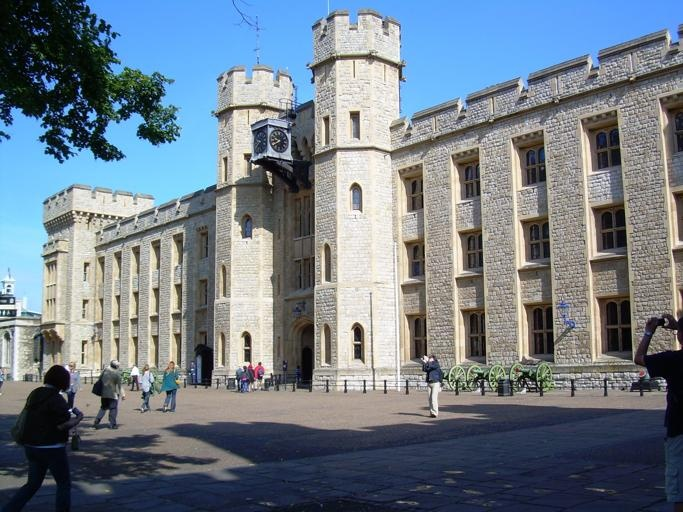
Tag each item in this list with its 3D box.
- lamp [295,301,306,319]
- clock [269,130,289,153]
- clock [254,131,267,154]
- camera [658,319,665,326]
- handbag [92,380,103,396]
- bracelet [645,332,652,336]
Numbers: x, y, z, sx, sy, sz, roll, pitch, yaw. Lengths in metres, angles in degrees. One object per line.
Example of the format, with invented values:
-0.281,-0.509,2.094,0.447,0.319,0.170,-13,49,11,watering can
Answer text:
-2.254,2.899,41.257,0.388,0.905,0.644,2,-6,-40,lamp
-3.363,-6.094,40.421,0.228,1.224,1.310,-11,-13,43,clock
-4.290,-6.022,40.387,0.210,1.308,1.381,3,-4,-40,clock
4.311,0.898,10.252,0.094,0.113,0.376,-3,-5,22,camera
-6.556,3.550,20.465,0.260,0.373,0.517,0,-5,-19,handbag
4.229,1.079,10.474,0.069,0.028,0.076,4,-14,-6,bracelet
